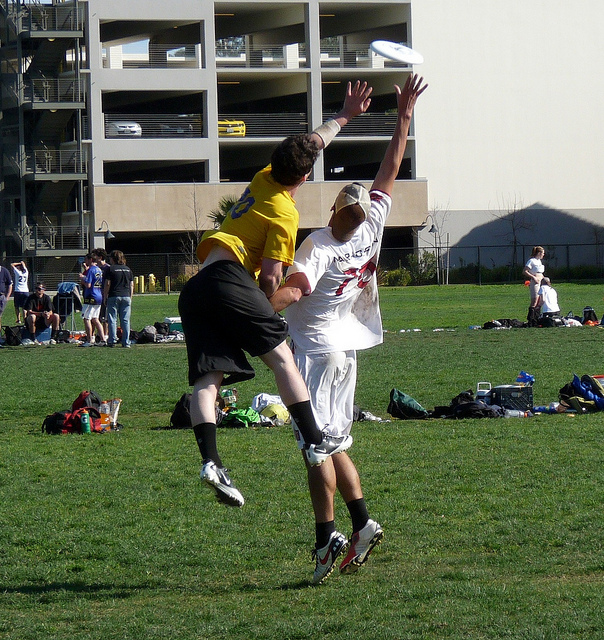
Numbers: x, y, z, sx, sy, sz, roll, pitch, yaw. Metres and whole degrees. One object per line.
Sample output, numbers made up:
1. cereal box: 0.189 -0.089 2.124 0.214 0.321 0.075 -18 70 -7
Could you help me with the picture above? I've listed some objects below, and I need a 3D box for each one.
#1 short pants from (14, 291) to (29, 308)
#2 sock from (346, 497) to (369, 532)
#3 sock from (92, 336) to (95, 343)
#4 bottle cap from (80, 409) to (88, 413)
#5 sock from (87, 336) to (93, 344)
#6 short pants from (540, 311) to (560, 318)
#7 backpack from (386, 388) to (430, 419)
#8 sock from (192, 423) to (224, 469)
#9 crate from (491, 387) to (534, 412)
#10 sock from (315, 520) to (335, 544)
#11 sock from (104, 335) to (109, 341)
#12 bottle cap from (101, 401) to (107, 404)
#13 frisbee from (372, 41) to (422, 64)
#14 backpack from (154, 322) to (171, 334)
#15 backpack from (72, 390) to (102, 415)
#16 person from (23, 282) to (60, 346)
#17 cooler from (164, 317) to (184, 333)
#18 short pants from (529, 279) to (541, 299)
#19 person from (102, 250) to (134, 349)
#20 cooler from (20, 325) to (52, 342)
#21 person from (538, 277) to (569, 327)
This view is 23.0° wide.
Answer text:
1. short pants: -5.666 -0.429 30.070 0.277 0.350 0.187 1 -3 1
2. sock: 0.471 1.639 12.498 0.176 0.259 0.198 -2 9 -7
3. sock: -3.878 0.352 27.678 0.089 0.105 0.081 6 -10 -29
4. bottle cap: -2.468 1.028 16.817 0.078 0.031 0.052 4 11 24
5. sock: -3.911 0.351 27.451 0.071 0.115 0.106 -1 4 -1
6. short pants: 4.748 -0.115 28.549 0.363 0.139 0.385 1 10 6
7. backpack: 1.226 1.012 17.463 0.360 0.208 0.325 17 5 9
8. sock: -0.781 1.029 12.336 0.223 0.353 0.305 -2 9 -8
9. crate: 2.461 0.925 17.439 0.500 0.304 0.306 1 9 10
10. sock: 0.183 1.781 12.494 0.185 0.197 0.170 2 9 17
11. sock: -3.675 0.330 27.912 0.092 0.119 0.029 -2 -10 0
12. bottle cap: -2.322 0.966 17.428 0.055 0.025 0.059 -1 3 24
13. frisbee: 0.927 -2.599 14.378 0.435 0.221 0.581 -3 10 -11
14. backpack: -2.645 0.118 28.099 0.222 0.264 0.188 -11 29 -41
15. backpack: -2.480 0.934 17.099 0.256 0.329 0.200 -7 -6 14
16. person: -4.878 -0.155 28.034 0.662 1.179 0.735 -4 9 -22
17. cooler: -2.235 0.091 25.830 0.379 0.296 0.412 1 -2 -10
18. short pants: 4.470 -0.621 28.532 0.126 0.462 0.139 -2 26 14
19. person: -3.224 -0.382 26.115 0.495 1.830 0.973 -2 8 -8
20. cooler: -4.997 0.247 28.025 0.575 0.288 0.178 -3 9 -13
21. person: 4.812 -0.310 28.552 0.571 0.802 0.601 1 9 9
